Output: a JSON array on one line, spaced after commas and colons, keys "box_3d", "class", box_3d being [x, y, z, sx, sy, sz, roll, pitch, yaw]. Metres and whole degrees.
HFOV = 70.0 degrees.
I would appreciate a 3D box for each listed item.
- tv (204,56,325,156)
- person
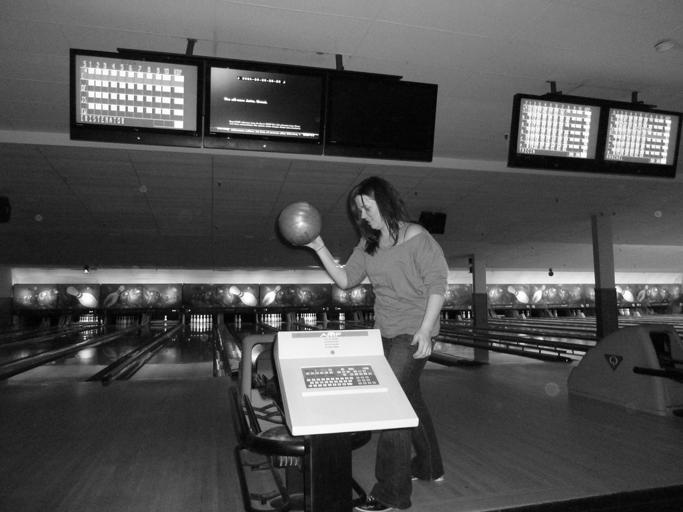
[{"box_3d": [-0.469, -0.895, 2.931, 0.612, 0.497, 0.088, 0, 8, -11], "class": "tv"}, {"box_3d": [0.210, 0.397, 2.304, 0.589, 1.490, 0.541, -2, -7, 13], "class": "person"}]
